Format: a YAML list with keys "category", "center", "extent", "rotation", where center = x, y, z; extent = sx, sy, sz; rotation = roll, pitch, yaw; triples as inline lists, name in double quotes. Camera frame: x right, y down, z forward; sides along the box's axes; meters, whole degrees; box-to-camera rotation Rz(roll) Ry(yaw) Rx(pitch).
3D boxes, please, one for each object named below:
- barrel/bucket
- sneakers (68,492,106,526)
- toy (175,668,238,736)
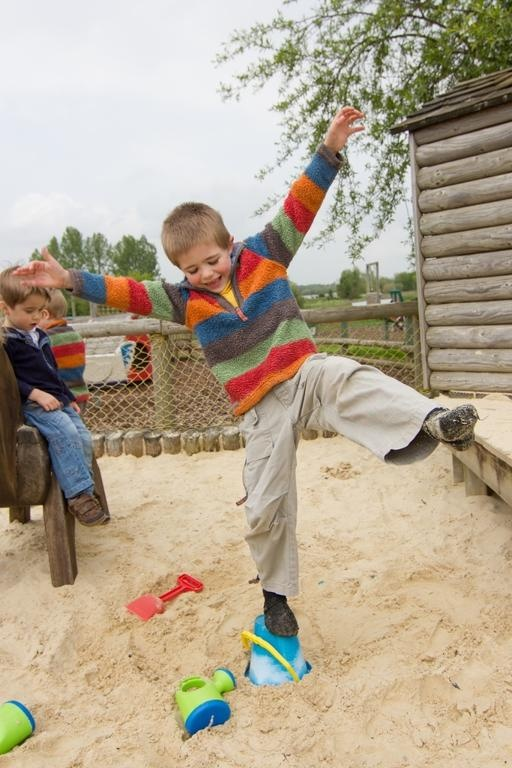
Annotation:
- category: "barrel/bucket"
  center: [0.077, 0.979, 2.367]
  extent: [0.243, 0.194, 0.246]
  rotation: [4, 8, -1]
- category: "sneakers"
  center: [-0.825, 0.600, 3.146]
  extent: [0.113, 0.097, 0.235]
  rotation: [-19, 20, -42]
- category: "toy"
  center: [-0.131, 1.064, 2.156]
  extent: [0.202, 0.108, 0.189]
  rotation: [-18, 10, -12]
